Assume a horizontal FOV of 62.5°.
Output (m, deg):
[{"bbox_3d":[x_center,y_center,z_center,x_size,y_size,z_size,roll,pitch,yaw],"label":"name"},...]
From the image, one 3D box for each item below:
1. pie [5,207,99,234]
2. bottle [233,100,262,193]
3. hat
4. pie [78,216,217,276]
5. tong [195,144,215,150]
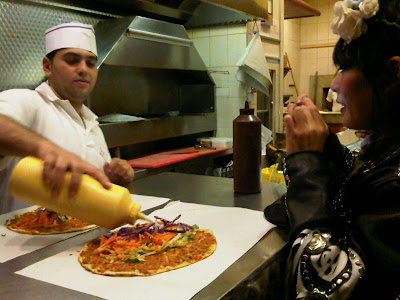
[{"bbox_3d":[-0.741,0.360,1.595,0.232,0.055,0.215,9,4,0],"label":"pie"},{"bbox_3d":[0.263,0.021,1.836,0.150,0.498,0.108,0,13,6],"label":"bottle"},{"bbox_3d":[-0.865,-0.807,2.449,0.327,0.144,0.320,-8,4,-8],"label":"hat"},{"bbox_3d":[-0.204,0.389,1.358,0.563,0.077,0.368,-4,14,-12],"label":"pie"},{"bbox_3d":[0.049,-0.033,4.362,0.354,0.060,0.089,4,-4,16],"label":"tong"}]
